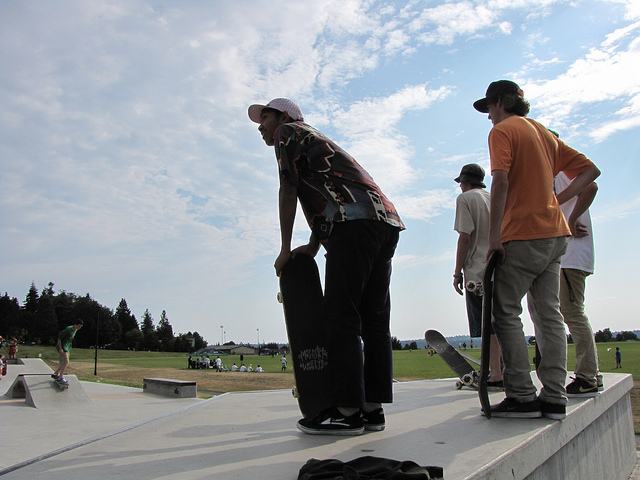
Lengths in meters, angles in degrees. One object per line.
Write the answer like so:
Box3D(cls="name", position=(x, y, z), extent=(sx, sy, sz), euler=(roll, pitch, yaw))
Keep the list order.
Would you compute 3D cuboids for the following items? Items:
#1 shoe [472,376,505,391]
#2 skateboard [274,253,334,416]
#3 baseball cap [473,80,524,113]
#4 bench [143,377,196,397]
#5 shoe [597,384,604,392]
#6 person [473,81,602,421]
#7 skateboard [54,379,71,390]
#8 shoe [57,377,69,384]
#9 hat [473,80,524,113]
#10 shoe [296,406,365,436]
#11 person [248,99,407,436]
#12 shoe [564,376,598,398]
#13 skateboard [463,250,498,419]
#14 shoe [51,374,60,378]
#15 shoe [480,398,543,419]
Box3D(cls="shoe", position=(1.988, 1.648, 4.935), extent=(0.165, 0.164, 0.268), euler=(-7, -13, 18))
Box3D(cls="skateboard", position=(-0.104, 0.744, 3.588), extent=(0.394, 1.494, 0.225), euler=(-6, -5, -9))
Box3D(cls="baseball cap", position=(1.720, -1.450, 4.211), extent=(0.420, 0.207, 0.294), euler=(-9, -1, 14))
Box3D(cls="bench", position=(-5.822, 5.715, 16.691), extent=(1.113, 0.689, 3.130), euler=(8, -16, -42))
Box3D(cls="shoe", position=(3.030, 1.607, 4.685), extent=(0.074, 0.027, 0.059), euler=(-2, -1, 28))
Box3D(cls="person", position=(1.997, 0.018, 4.105), extent=(1.270, 3.071, 0.894), euler=(4, -6, -11))
Box3D(cls="skateboard", position=(-7.608, 4.269, 12.808), extent=(0.623, 0.172, 0.171), euler=(28, 10, 37))
Box3D(cls="shoe", position=(-7.603, 4.170, 12.842), extent=(0.317, 0.139, 0.111), euler=(14, -12, 25))
Box3D(cls="hat", position=(1.740, -1.467, 4.222), extent=(0.299, 0.211, 0.407), euler=(-19, 21, -36))
Box3D(cls="shoe", position=(0.095, 1.408, 3.424), extent=(0.516, 0.221, 0.207), euler=(1, -13, 8))
Box3D(cls="person", position=(0.181, 0.234, 3.578), extent=(1.057, 2.603, 0.479), euler=(-2, -12, -7))
Box3D(cls="shoe", position=(2.658, 1.501, 4.413), extent=(0.276, 0.165, 0.329), euler=(-10, -14, 28))
Box3D(cls="skateboard", position=(1.623, 0.922, 4.368), extent=(0.377, 1.815, 0.280), euler=(1, -6, -39))
Box3D(cls="shoe", position=(-7.889, 4.069, 13.001), extent=(0.190, 0.099, 0.299), euler=(7, -9, -43))
Box3D(cls="shoe", position=(1.622, 1.413, 3.676), extent=(0.421, 0.178, 0.155), euler=(0, -15, 23))
